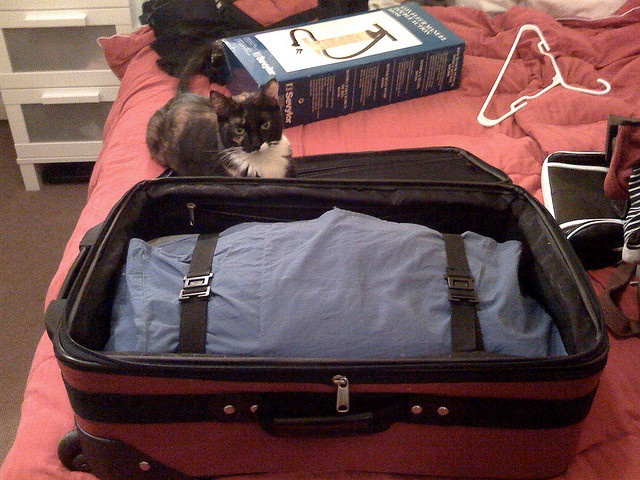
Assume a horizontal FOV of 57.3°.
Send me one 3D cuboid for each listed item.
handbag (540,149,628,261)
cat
[{"bbox_3d":[0.584,-0.069,1.289,0.178,0.271,0.172,2,82,6],"label":"handbag"},{"bbox_3d":[-0.297,-0.321,1.656,0.334,0.225,0.515,-16,27,-28],"label":"cat"}]
